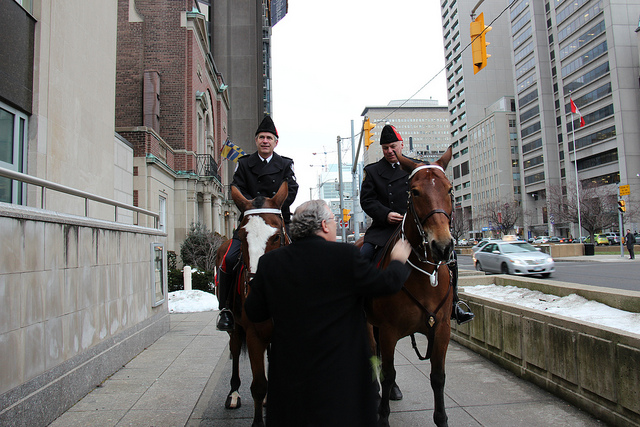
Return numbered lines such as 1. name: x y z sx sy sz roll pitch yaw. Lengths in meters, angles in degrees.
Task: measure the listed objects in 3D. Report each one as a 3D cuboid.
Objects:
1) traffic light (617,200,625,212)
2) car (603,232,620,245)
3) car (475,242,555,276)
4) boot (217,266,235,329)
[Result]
1. traffic light: 20.532 -0.588 34.635 0.274 0.820 0.890 -5 -3 21
2. car: 36.348 2.915 62.908 1.704 1.583 2.997 0 3 23
3. car: 9.530 2.227 25.063 1.915 1.444 3.717 -3 -4 -21
4. boot: -1.862 1.657 9.991 0.335 1.380 0.483 0 -21 -10
